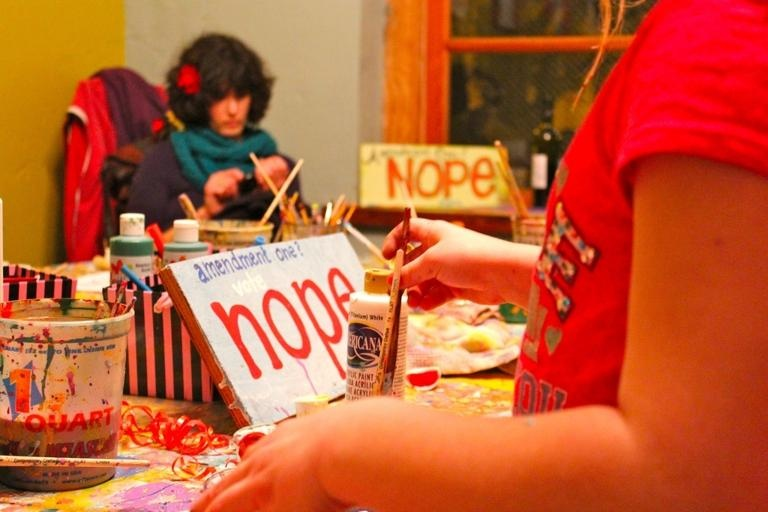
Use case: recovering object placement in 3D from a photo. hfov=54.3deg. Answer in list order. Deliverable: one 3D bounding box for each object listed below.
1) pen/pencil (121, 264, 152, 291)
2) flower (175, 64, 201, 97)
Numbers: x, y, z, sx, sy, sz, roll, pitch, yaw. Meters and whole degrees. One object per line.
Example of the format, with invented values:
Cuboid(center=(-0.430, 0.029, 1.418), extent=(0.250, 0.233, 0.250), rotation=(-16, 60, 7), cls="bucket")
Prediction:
Cuboid(center=(-0.336, 0.031, 1.009), extent=(0.054, 0.009, 0.010), rotation=(33, 34, 32), cls="pen/pencil")
Cuboid(center=(-0.582, -0.525, 2.228), extent=(0.077, 0.079, 0.039), rotation=(10, 18, 35), cls="flower")
